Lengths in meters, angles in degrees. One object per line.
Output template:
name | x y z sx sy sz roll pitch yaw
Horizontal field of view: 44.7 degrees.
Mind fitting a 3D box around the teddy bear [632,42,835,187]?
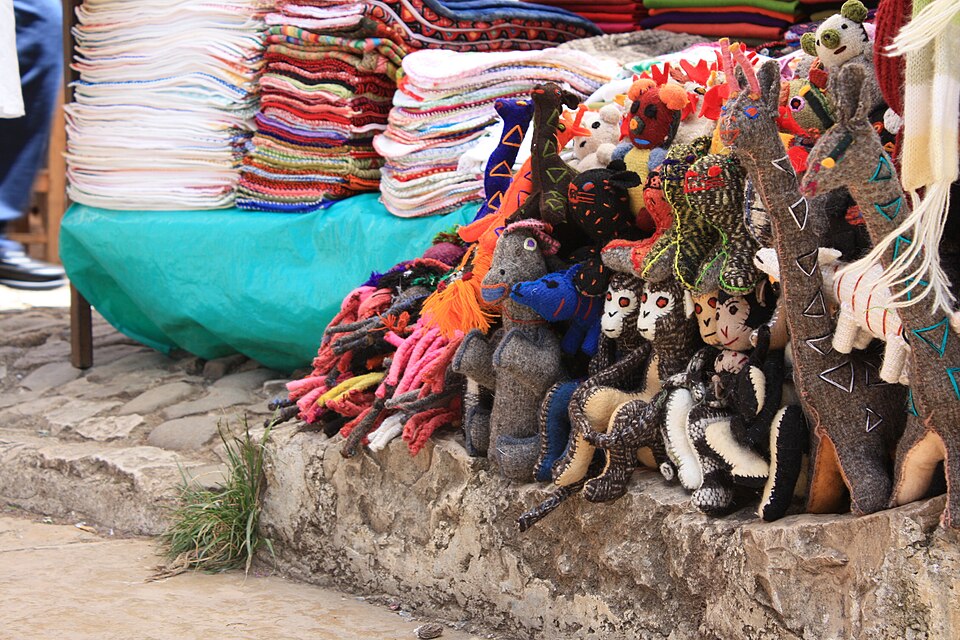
teddy bear | 0.745 -0.606 3.212 0.340 0.432 0.291 -18 -27 8

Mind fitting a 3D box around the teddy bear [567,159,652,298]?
teddy bear | 0.413 -0.299 3.488 0.342 0.422 0.382 1 17 15
